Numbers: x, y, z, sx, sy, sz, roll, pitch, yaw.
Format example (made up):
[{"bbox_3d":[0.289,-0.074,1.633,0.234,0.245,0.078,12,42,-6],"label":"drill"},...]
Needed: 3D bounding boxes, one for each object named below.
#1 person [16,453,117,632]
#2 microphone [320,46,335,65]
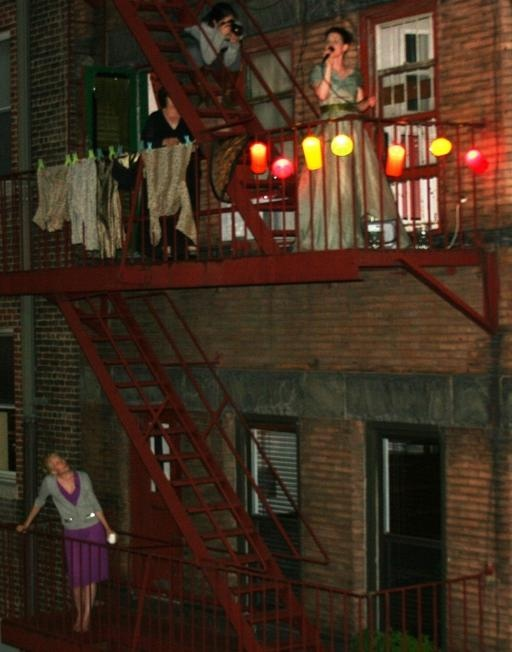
[{"bbox_3d":[-1.709,1.994,13.867,0.783,1.617,1.024,0,-3,-9],"label":"person"},{"bbox_3d":[0.617,-2.383,13.196,0.033,0.143,0.078,30,1,-22],"label":"microphone"}]
